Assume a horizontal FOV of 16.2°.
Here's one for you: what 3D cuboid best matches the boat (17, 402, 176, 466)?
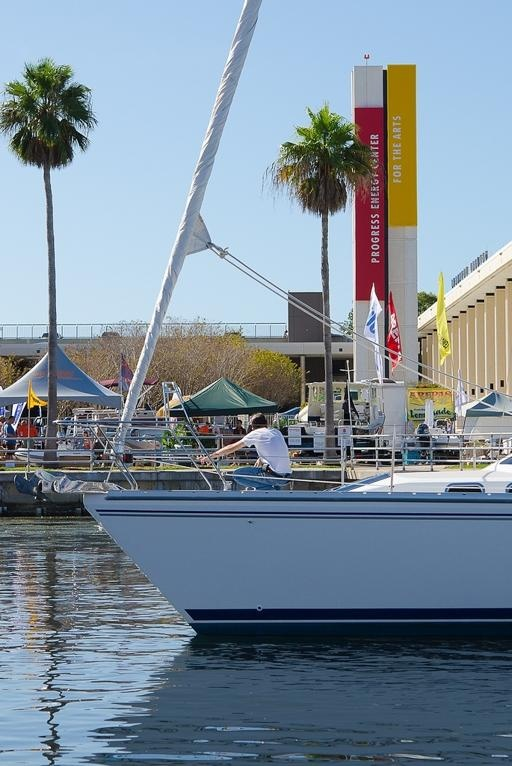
[{"bbox_3d":[-2.502,0.835,26.981,3.092,1.304,1.124,0,0,17],"label":"boat"}]

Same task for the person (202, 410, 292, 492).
[{"bbox_3d":[-0.029,0.749,17.081,0.591,1.018,0.595,-1,-1,20],"label":"person"}]

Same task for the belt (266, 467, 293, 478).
[{"bbox_3d":[0.174,0.882,16.933,0.120,0.074,0.174,5,1,-26],"label":"belt"}]

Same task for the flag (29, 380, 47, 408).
[{"bbox_3d":[-4.364,0.240,35.476,0.042,0.597,0.455,-8,-7,34],"label":"flag"}]
